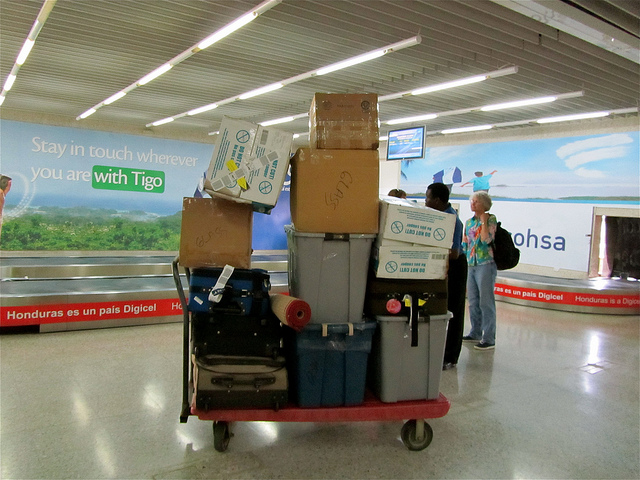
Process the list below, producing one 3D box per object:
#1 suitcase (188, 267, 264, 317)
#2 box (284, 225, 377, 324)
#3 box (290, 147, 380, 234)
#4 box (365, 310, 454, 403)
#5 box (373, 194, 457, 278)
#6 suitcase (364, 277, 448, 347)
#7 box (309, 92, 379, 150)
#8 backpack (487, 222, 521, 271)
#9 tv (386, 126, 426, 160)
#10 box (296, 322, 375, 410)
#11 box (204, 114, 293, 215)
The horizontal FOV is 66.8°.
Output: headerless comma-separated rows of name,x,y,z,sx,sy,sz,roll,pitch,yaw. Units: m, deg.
suitcase,-0.685,0.361,3.582,0.595,0.340,0.357,6,-1,-11
box,0.050,0.285,3.867,0.623,0.533,0.766,3,-1,-8
box,0.375,-0.402,3.934,0.818,0.642,0.804,6,7,43
box,0.645,0.894,4.026,0.866,0.602,0.658,2,-8,-8
box,0.674,0.000,3.826,0.573,0.436,0.948,9,-1,1
suitcase,0.678,0.493,3.580,0.584,0.326,0.556,1,-4,-1
box,0.185,-0.897,3.800,0.487,0.281,0.470,1,2,-2
backpack,2.106,0.092,5.583,0.335,0.497,0.243,6,12,21
tv,2.089,-2.359,11.718,0.145,0.941,1.381,3,-1,-44
box,0.061,0.937,3.906,0.794,0.615,0.614,2,-12,-9
box,-0.399,-0.601,3.880,0.906,0.600,0.847,9,13,-20
